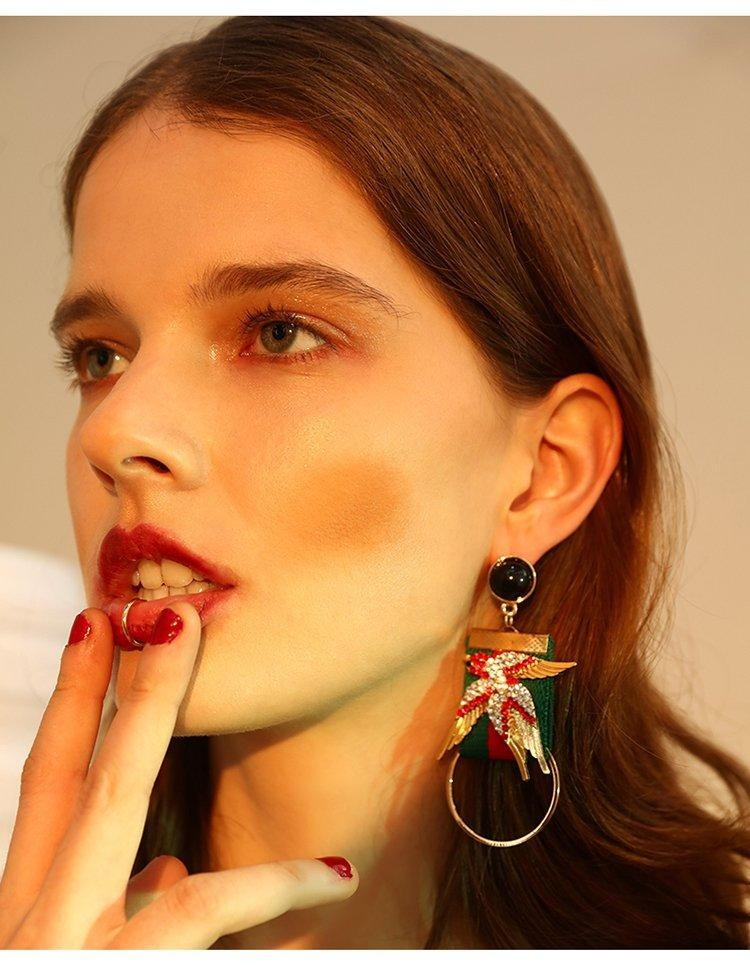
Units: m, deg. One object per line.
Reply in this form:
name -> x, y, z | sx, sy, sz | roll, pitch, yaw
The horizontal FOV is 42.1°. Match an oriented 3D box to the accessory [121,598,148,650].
accessory -> -0.390, 0.234, 1.571 | 0.045, 0.080, 0.023 | 8, 8, 42

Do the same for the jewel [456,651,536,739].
jewel -> 0.212, 0.361, 1.663 | 0.159, 0.135, 0.053 | 0, -8, 9

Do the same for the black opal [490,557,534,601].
black opal -> 0.234, 0.164, 1.654 | 0.084, 0.068, 0.046 | -4, 3, 5
